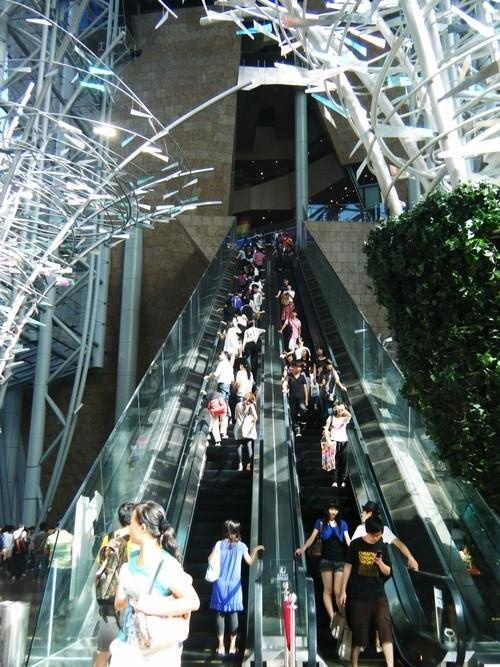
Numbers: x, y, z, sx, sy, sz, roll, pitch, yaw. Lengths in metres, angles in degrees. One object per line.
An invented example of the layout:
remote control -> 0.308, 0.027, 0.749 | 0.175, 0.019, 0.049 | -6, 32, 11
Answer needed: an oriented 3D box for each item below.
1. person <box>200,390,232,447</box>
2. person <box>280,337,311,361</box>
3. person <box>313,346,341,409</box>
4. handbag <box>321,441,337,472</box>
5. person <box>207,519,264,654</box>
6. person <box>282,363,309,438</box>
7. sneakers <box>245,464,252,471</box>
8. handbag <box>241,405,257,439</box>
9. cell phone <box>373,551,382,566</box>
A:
person -> -0.589, 1.571, 9.101 | 0.345, 1.107, 0.320 | -5, -45, -6
person -> 1.277, 0.456, 13.040 | 0.810, 0.795, 0.499 | -1, -8, 5
person -> 1.784, 1.244, 10.427 | 0.581, 0.449, 1.381 | 1, -62, 7
handbag -> 1.243, 1.885, 7.327 | 0.237, 0.419, 0.372 | -8, -25, 8
person -> -0.133, 2.456, 4.638 | 0.501, 1.138, 0.760 | -4, -24, -1
person -> 1.002, 1.403, 10.058 | 0.497, 1.783, 1.100 | -7, -24, 4
sneakers -> -0.005, 2.227, 7.901 | 0.079, 0.146, 0.069 | -3, -16, 31
handbag -> -0.016, 1.552, 8.239 | 0.243, 0.570, 0.317 | -3, -24, -3
cell phone -> 1.057, 1.857, 3.892 | 0.060, 0.084, 0.019 | -1, -16, 11
